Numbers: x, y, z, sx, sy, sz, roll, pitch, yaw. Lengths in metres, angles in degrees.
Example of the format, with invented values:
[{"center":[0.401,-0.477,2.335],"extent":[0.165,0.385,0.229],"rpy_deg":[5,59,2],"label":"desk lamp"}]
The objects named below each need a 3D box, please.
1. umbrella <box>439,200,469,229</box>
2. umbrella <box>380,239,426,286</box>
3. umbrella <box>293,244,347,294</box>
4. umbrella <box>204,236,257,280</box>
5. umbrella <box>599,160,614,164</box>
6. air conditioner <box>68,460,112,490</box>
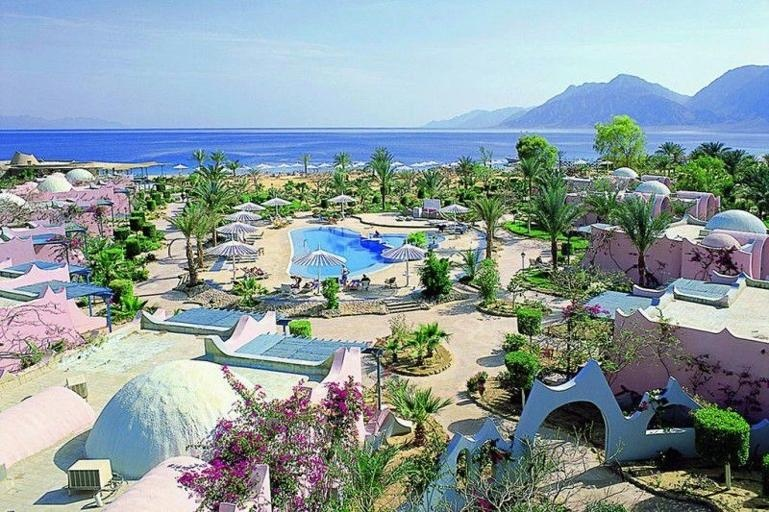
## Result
[{"center":[7.443,-4.354,56.632],"extent":[2.539,2.178,2.605],"rpy_deg":[8,18,29],"label":"umbrella"},{"center":[1.655,0.667,40.794],"extent":[3.471,2.951,3.388],"rpy_deg":[-5,12,-14],"label":"umbrella"},{"center":[-4.806,0.220,37.904],"extent":[3.613,2.999,3.274],"rpy_deg":[-1,7,-2],"label":"umbrella"},{"center":[-11.935,-0.258,40.798],"extent":[4.124,3.471,3.817],"rpy_deg":[1,3,15],"label":"umbrella"},{"center":[37.217,-15.794,86.499],"extent":[1.777,0.720,1.751],"rpy_deg":[-2,7,14],"label":"umbrella"},{"center":[-8.501,6.310,14.834],"extent":[0.886,0.521,0.862],"rpy_deg":[2,6,-3],"label":"air conditioner"}]
